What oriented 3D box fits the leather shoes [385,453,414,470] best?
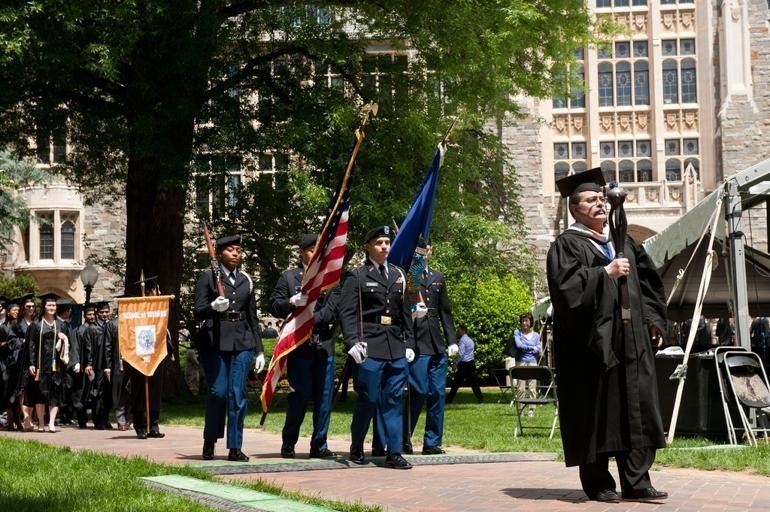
[{"bbox_3d":[0.252,3.767,23.765,0.556,0.219,0.200,-3,-7,22],"label":"leather shoes"}]

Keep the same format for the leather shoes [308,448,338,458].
[{"bbox_3d":[-1.152,3.735,24.553,0.527,0.180,0.175,-1,-11,6],"label":"leather shoes"}]

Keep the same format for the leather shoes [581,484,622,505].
[{"bbox_3d":[3.684,4.033,21.805,0.575,0.222,0.230,-3,-5,5],"label":"leather shoes"}]

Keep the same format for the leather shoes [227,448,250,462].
[{"bbox_3d":[-2.716,3.706,24.139,0.423,0.160,0.174,-3,-8,27],"label":"leather shoes"}]

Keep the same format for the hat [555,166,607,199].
[{"bbox_3d":[3.380,-1.229,22.460,0.659,0.287,0.590,-13,-18,23],"label":"hat"}]

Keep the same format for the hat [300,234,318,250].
[{"bbox_3d":[-1.512,-0.277,24.724,0.369,0.133,0.262,-25,-5,10],"label":"hat"}]

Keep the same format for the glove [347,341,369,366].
[{"bbox_3d":[-0.457,1.779,23.787,0.384,0.366,0.152,-33,10,-17],"label":"glove"}]

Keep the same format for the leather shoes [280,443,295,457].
[{"bbox_3d":[-1.825,3.680,24.609,0.235,0.191,0.528,1,-10,-7],"label":"leather shoes"}]

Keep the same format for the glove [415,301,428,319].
[{"bbox_3d":[0.753,1.067,24.952,0.252,0.292,0.308,15,23,18],"label":"glove"}]

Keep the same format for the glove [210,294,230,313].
[{"bbox_3d":[-3.032,0.896,24.110,0.146,0.240,0.331,-21,3,-41],"label":"glove"}]

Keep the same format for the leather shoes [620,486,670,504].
[{"bbox_3d":[4.358,4.016,21.792,0.749,0.280,0.261,-2,-6,7],"label":"leather shoes"}]
